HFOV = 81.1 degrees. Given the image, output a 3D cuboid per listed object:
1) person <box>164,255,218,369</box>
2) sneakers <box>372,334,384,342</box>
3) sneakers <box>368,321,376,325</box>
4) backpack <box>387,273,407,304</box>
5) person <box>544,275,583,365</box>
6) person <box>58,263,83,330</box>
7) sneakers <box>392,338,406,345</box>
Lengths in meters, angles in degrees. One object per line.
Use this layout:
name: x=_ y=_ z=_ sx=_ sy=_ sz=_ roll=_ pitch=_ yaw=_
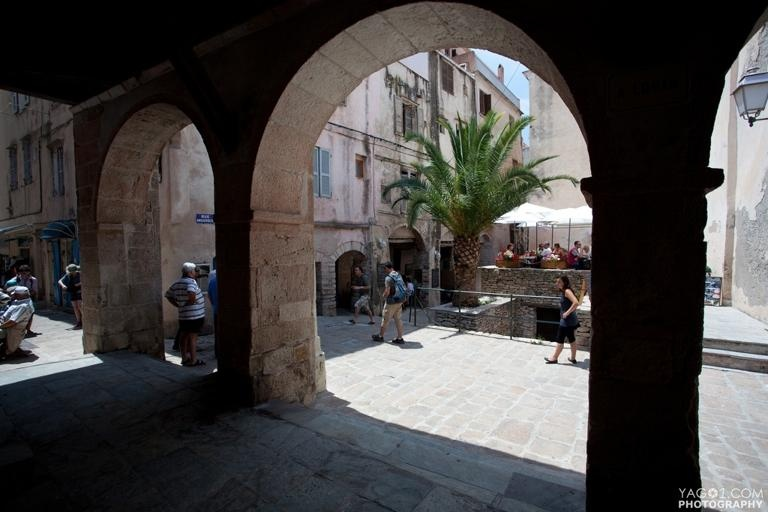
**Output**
person: x=-3.169 y=0.955 z=7.162 sx=0.582 sy=1.678 sz=0.556 roll=1 pitch=4 yaw=-23
sneakers: x=-0.133 y=1.677 z=9.163 sx=0.099 sy=0.108 sz=0.245 roll=-3 pitch=7 yaw=-45
sneakers: x=-0.349 y=1.681 z=11.309 sx=0.154 sy=0.095 sz=0.080 roll=1 pitch=-2 yaw=25
backpack: x=0.253 y=0.644 z=8.825 sx=0.348 sy=0.623 sz=0.458 roll=-2 pitch=9 yaw=33
person: x=3.178 y=1.055 z=7.904 sx=0.502 sy=1.477 sz=1.160 roll=4 pitch=4 yaw=24
person: x=-6.652 y=0.845 z=9.485 sx=0.345 sy=1.446 sz=1.946 roll=0 pitch=4 yaw=-36
sneakers: x=0.295 y=1.691 z=8.865 sx=0.283 sy=0.113 sz=0.096 roll=-3 pitch=-4 yaw=31
